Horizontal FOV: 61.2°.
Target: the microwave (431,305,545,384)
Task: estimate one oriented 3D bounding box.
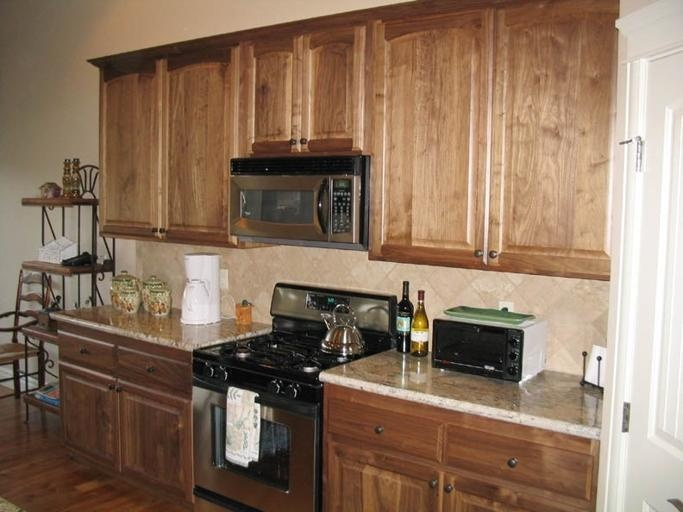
[{"bbox_3d":[0.712,0.430,2.831,0.459,0.267,0.317,4,10,30],"label":"microwave"}]

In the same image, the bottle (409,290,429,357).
[{"bbox_3d":[0.409,0.349,3.098,0.096,0.367,0.171,-1,14,6],"label":"bottle"}]

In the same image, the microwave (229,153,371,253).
[{"bbox_3d":[-0.204,-0.306,3.301,0.846,0.498,0.487,5,9,30],"label":"microwave"}]

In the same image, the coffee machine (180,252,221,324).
[{"bbox_3d":[-0.904,0.214,3.696,0.284,0.462,0.145,-9,15,-23],"label":"coffee machine"}]

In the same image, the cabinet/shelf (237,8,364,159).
[{"bbox_3d":[-0.168,-0.922,3.265,0.809,0.670,0.311,4,7,25],"label":"cabinet/shelf"}]

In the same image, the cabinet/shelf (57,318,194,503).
[{"bbox_3d":[-1.225,0.933,3.894,1.422,0.968,0.697,3,6,34],"label":"cabinet/shelf"}]

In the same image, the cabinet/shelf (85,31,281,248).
[{"bbox_3d":[-1.093,-0.710,3.870,1.443,1.283,0.421,5,6,36],"label":"cabinet/shelf"}]

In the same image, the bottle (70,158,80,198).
[{"bbox_3d":[-2.077,-0.606,4.498,0.075,0.279,0.163,-7,14,-16],"label":"bottle"}]

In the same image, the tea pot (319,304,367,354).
[{"bbox_3d":[-0.008,0.392,3.194,0.296,0.245,0.239,5,13,34],"label":"tea pot"}]

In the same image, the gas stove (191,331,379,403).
[{"bbox_3d":[-0.319,0.569,3.110,0.590,0.186,0.416,3,5,38],"label":"gas stove"}]

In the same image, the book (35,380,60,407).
[{"bbox_3d":[-2.207,1.051,4.343,0.201,0.052,0.226,-1,19,2],"label":"book"}]
